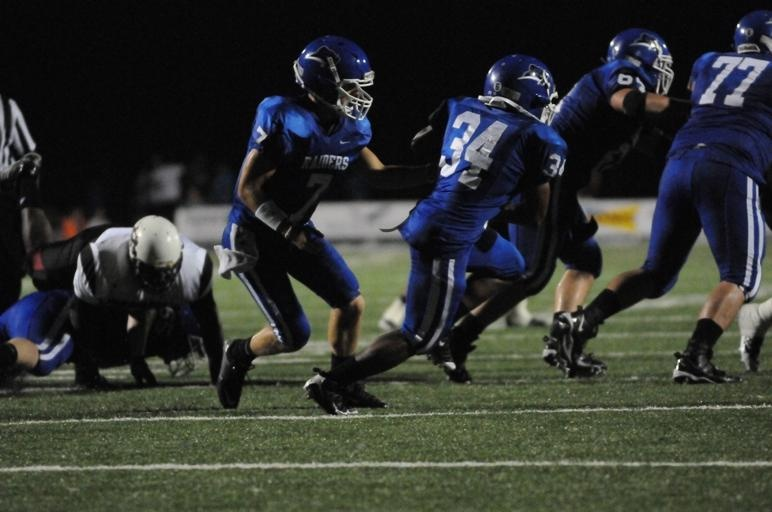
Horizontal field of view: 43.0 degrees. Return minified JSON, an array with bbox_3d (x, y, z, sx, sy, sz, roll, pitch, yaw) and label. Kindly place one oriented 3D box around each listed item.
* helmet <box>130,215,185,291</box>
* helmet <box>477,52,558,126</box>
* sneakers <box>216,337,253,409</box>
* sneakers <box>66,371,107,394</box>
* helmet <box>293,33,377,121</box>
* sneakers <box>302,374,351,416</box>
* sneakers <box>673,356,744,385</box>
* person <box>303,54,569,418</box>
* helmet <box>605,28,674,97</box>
[{"bbox_3d":[-1.425,-0.030,6.057,0.335,0.416,0.359,-1,-14,-19],"label":"helmet"},{"bbox_3d":[0.831,-1.031,6.120,0.543,0.390,0.410,6,8,-21],"label":"helmet"},{"bbox_3d":[-0.927,0.723,6.235,0.226,0.480,0.173,1,-9,30],"label":"sneakers"},{"bbox_3d":[-1.999,0.841,6.627,0.318,0.198,0.101,1,0,-8],"label":"sneakers"},{"bbox_3d":[-0.319,-1.141,6.123,0.572,0.425,0.405,18,21,11],"label":"helmet"},{"bbox_3d":[-0.357,0.831,5.957,0.368,0.141,0.148,38,-9,-17],"label":"sneakers"},{"bbox_3d":[2.089,0.726,6.334,0.533,0.202,0.167,2,-1,-10],"label":"sneakers"},{"bbox_3d":[0.390,-0.167,6.103,1.451,2.076,0.832,-2,14,-4],"label":"person"},{"bbox_3d":[1.789,-1.364,6.923,0.509,0.439,0.387,9,3,-2],"label":"helmet"}]
